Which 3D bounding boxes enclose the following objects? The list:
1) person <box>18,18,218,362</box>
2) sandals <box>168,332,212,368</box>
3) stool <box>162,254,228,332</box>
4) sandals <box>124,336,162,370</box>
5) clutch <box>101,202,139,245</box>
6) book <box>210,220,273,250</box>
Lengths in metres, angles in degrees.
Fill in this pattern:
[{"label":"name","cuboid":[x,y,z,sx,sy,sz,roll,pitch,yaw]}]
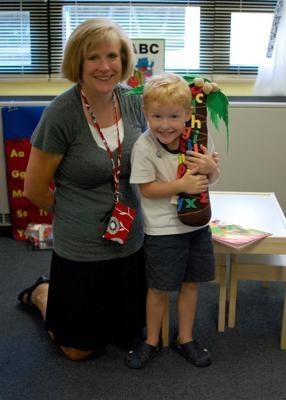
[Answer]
[{"label":"person","cuboid":[-0.199,-0.029,1.188,0.464,1.082,0.456,2,12,-3]},{"label":"sandals","cuboid":[0.192,0.568,1.272,0.065,0.051,0.132,-11,16,-35]},{"label":"stool","cuboid":[0.265,0.466,1.555,0.248,0.376,0.279,1,-12,14]},{"label":"sandals","cuboid":[0.003,0.572,1.254,0.077,0.067,0.171,7,9,43]},{"label":"clutch","cuboid":[-0.062,0.062,1.011,0.097,0.130,0.031,18,1,-10]},{"label":"book","cuboid":[0.343,0.120,1.265,0.169,0.033,0.216,-24,29,-30]}]
